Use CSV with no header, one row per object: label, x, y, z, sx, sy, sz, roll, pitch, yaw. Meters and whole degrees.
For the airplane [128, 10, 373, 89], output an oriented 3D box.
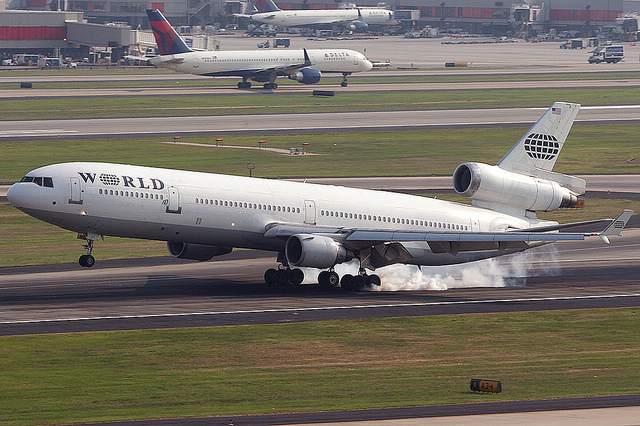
airplane,-11.361,-27.370,198.877,37.355,12.980,5.163,-4,27,-17
